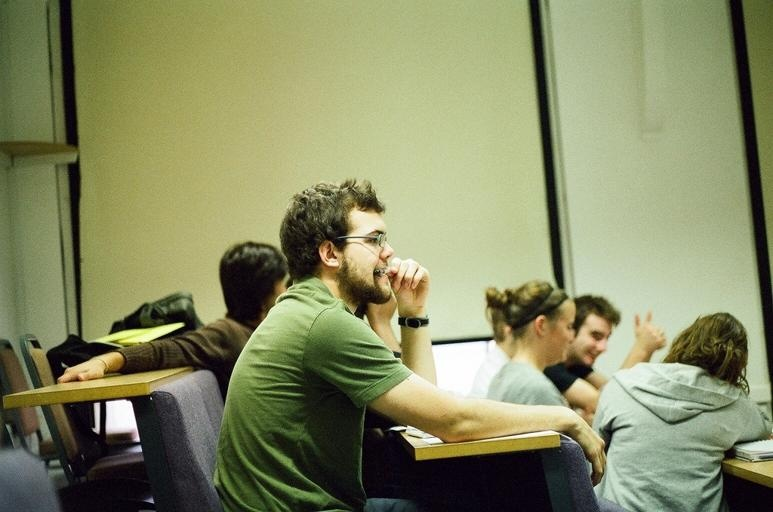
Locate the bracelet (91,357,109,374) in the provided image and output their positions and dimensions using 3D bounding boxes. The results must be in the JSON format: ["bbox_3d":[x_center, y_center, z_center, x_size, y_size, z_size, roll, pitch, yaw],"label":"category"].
[{"bbox_3d":[-1.495,0.576,3.762,0.037,0.081,0.061,-19,9,-10],"label":"bracelet"}]

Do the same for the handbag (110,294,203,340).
[{"bbox_3d":[-1.438,0.355,4.676,0.315,0.143,0.380,-21,8,19],"label":"handbag"}]
